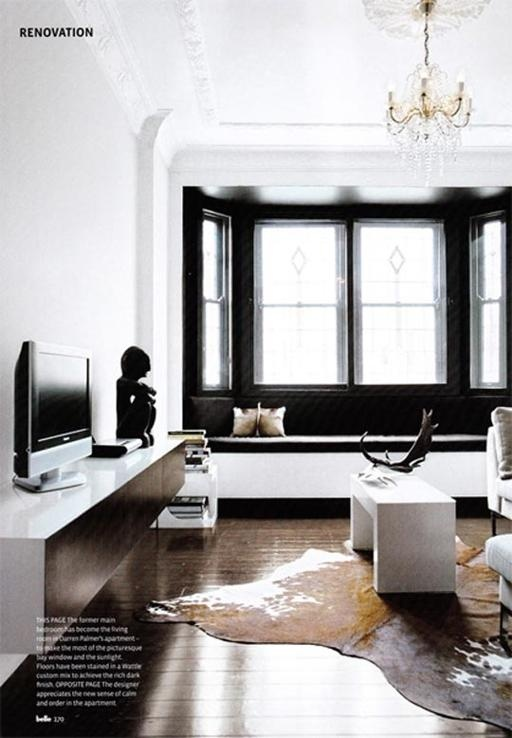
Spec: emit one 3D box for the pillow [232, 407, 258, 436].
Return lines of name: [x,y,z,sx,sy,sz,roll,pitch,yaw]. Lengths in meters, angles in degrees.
pillow: [-0.087,0.426,4.930,0.148,0.202,0.078,2,-37,-1]

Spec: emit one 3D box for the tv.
tv: [-0.714,0.164,2.207,0.153,0.496,0.436,0,-1,12]

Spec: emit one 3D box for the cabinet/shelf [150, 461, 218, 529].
cabinet/shelf: [-0.408,0.761,3.905,0.328,0.430,0.238,-1,21,1]
